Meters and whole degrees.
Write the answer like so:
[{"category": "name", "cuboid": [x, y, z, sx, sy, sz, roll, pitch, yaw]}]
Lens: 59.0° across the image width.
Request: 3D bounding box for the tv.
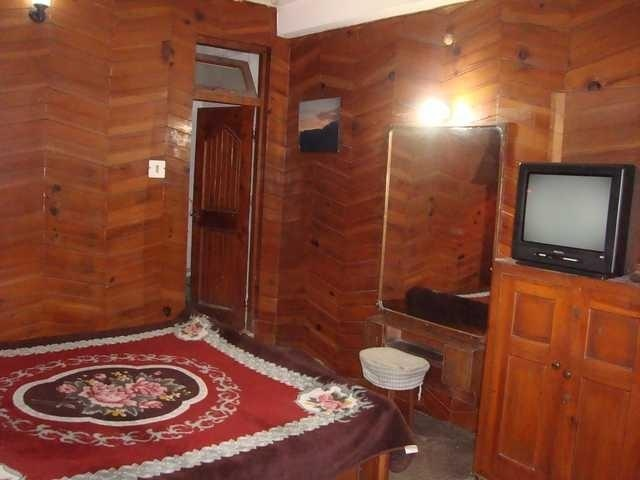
[{"category": "tv", "cuboid": [1.401, -0.104, 3.047, 0.328, 0.586, 0.619, 0, 7, -36]}]
